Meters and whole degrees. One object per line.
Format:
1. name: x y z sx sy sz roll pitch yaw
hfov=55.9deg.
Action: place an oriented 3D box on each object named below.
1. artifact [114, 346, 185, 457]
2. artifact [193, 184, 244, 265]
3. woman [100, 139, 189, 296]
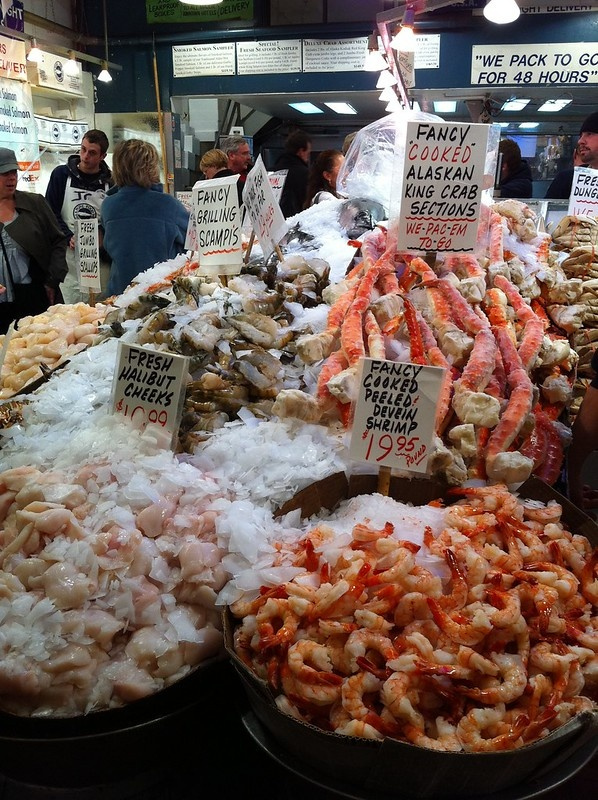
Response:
1. artifact: -0.383 -0.025 1.429 0.227 0.206 0.072 20 26 38
2. artifact: -0.328 -0.671 2.156 0.115 0.341 0.453 -9 23 -30
3. woman: -0.967 -1.122 3.554 0.526 0.939 0.288 -2 22 -16
